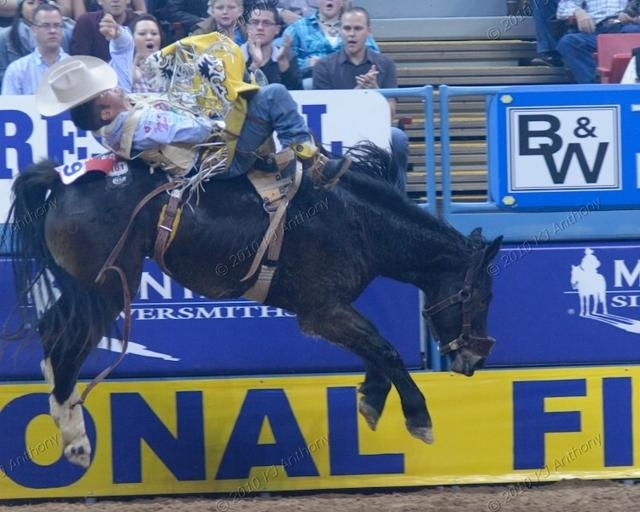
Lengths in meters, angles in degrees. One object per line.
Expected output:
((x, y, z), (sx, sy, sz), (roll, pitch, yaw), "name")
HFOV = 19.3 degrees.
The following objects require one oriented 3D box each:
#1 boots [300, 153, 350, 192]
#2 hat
((0.023, -0.563, 12.654), (0.265, 0.256, 0.220), (-8, 12, -39), "boots")
((-1.660, -1.150, 12.606), (0.496, 0.402, 0.178), (-23, -27, 6), "hat")
